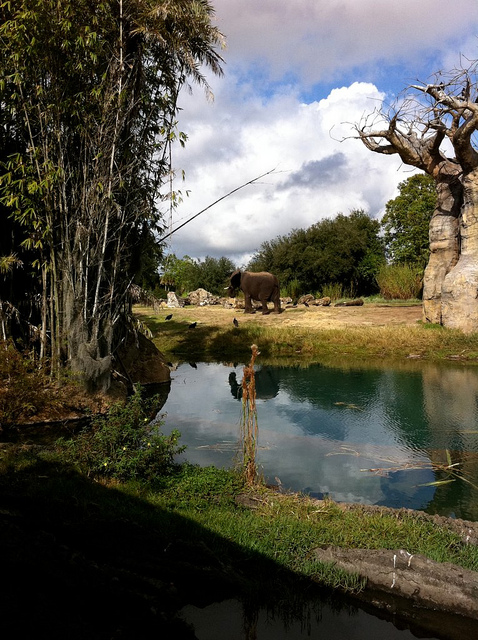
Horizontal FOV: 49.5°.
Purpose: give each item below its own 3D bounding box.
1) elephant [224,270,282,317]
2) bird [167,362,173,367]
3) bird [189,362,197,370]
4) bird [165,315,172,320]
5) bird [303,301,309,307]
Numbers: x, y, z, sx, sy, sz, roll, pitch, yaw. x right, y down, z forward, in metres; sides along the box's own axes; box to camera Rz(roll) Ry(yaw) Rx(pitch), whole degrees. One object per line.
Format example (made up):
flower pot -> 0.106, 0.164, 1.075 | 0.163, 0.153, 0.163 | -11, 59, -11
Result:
elephant -> 0.579, -1.494, 28.501 | 3.832, 2.348, 1.727 | 1, 3, 30
bird -> -2.177, 1.389, 16.223 | 0.089, 0.155, 0.295 | -18, -1, -10
bird -> -1.468, 1.459, 16.542 | 0.127, 0.185, 0.347 | -3, 8, -26
bird -> -3.248, -0.090, 23.925 | 0.250, 0.160, 0.481 | 11, -29, -21
bird -> 4.213, -0.945, 32.530 | 0.124, 0.317, 0.116 | 14, 3, 28
